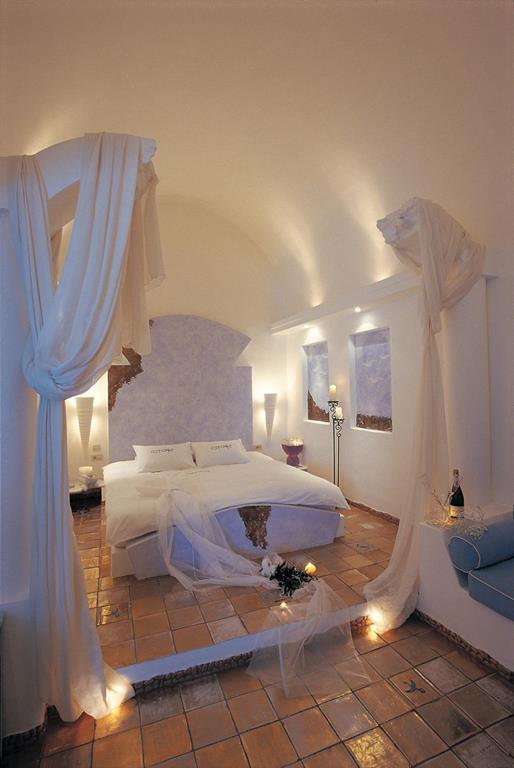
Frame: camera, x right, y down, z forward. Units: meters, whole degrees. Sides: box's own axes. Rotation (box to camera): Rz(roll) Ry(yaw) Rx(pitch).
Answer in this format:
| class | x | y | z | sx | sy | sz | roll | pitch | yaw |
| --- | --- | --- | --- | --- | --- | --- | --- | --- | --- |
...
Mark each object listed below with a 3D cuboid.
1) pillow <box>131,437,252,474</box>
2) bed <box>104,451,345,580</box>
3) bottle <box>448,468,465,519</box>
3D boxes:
| class | x | y | z | sx | sy | sz | roll | pitch | yaw |
| --- | --- | --- | --- | --- | --- | --- | --- | --- | --- |
| pillow | -0.706 | 0.705 | 5.234 | 1.021 | 0.230 | 0.286 | 2 | 11 | -30 |
| bed | -0.315 | 0.920 | 3.941 | 1.008 | 0.371 | 1.041 | -2 | 1 | -19 |
| bottle | 1.201 | 0.651 | 3.182 | 0.084 | 0.277 | 0.203 | 3 | 11 | 15 |
